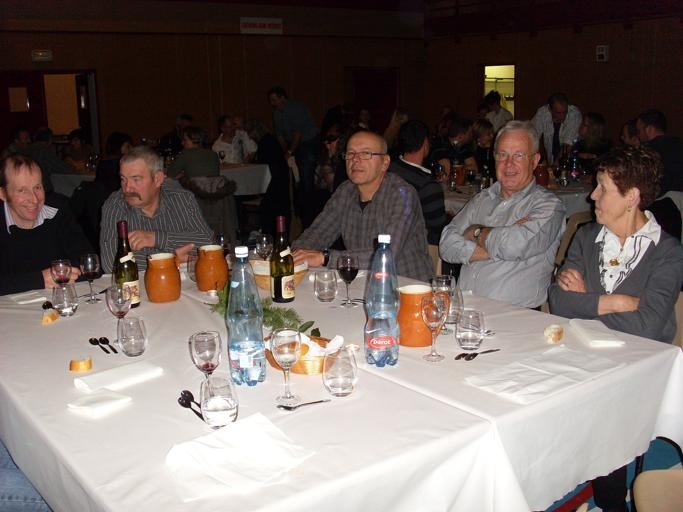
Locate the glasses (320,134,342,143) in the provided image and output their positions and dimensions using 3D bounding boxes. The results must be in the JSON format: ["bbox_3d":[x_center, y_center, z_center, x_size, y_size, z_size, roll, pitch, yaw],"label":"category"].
[{"bbox_3d":[-0.125,-1.288,5.607,0.156,0.056,0.156,-2,8,-23],"label":"glasses"}]

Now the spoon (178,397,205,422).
[{"bbox_3d":[-0.440,0.426,1.470,0.039,0.021,0.141,-38,31,-14],"label":"spoon"}]
